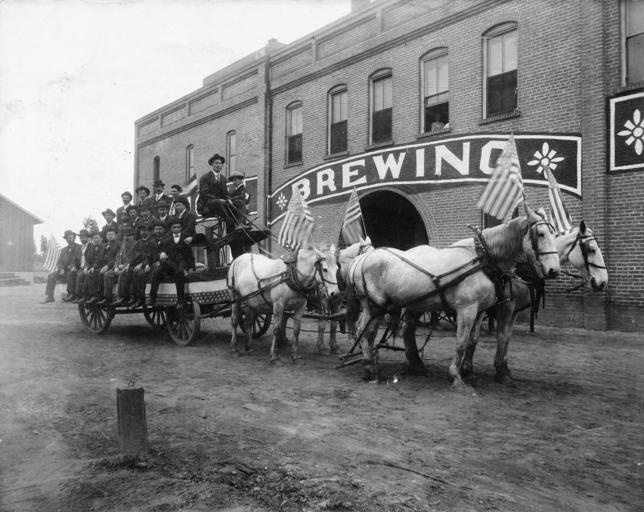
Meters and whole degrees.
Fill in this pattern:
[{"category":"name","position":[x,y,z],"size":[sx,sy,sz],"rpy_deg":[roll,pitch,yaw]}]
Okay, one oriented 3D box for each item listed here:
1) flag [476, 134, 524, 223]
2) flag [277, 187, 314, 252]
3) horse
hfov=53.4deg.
[{"category":"flag","position":[3.268,-1.258,11.294],"size":[0.701,2.005,0.575],"rpy_deg":[2,5,44]},{"category":"flag","position":[-0.590,-0.649,13.179],"size":[0.650,1.551,0.672],"rpy_deg":[-4,8,-37]},{"category":"horse","position":[1.696,0.462,11.254],"size":[6.557,2.983,4.614],"rpy_deg":[-1,10,-9]}]
